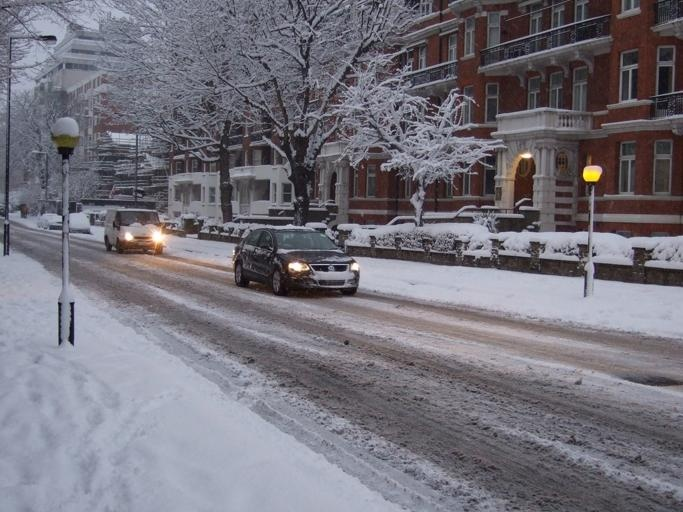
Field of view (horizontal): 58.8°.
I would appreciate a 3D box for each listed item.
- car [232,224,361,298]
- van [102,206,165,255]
[{"bbox_3d":[-1.405,0.080,17.372,3.811,1.898,1.903,3,3,45],"label":"car"},{"bbox_3d":[-10.875,-1.293,31.506,1.807,1.836,3.325,0,-1,-24],"label":"van"}]
